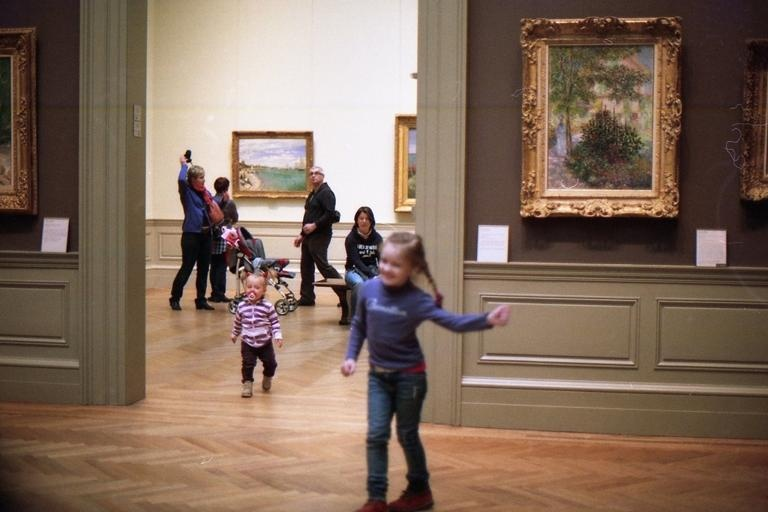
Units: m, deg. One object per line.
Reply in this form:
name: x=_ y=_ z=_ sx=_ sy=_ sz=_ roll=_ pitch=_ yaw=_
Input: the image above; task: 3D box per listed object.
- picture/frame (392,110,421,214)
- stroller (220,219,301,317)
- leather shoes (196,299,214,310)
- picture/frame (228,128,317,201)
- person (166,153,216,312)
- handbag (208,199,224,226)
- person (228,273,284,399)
picture/frame: x=0.398 y=-1.668 z=11.724 sx=0.365 sy=1.751 sz=0.267 roll=0 pitch=8 yaw=-10
stroller: x=-1.855 y=0.184 z=9.757 sx=1.068 sy=1.276 sz=0.922 roll=4 pitch=2 yaw=1
leather shoes: x=-2.648 y=0.742 z=9.868 sx=0.359 sy=0.164 sz=0.119 roll=0 pitch=5 yaw=-8
picture/frame: x=-1.973 y=-1.730 z=11.936 sx=1.493 sy=1.224 sz=0.123 roll=1 pitch=3 yaw=5
person: x=-2.678 y=-0.236 z=9.331 sx=0.720 sy=2.200 sz=0.918 roll=-2 pitch=8 yaw=-21
handbag: x=-2.430 y=-0.618 z=9.440 sx=0.221 sy=0.305 sz=0.109 roll=-18 pitch=14 yaw=-41
person: x=-1.159 y=0.709 z=5.967 sx=0.419 sy=1.104 sz=0.550 roll=-1 pitch=8 yaw=-14
